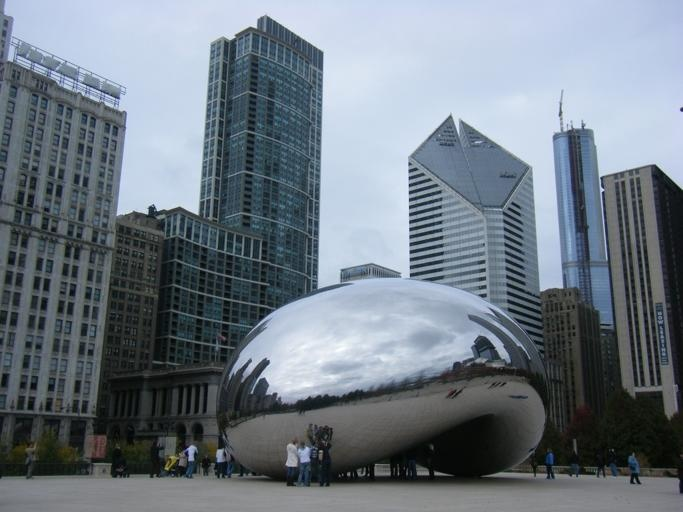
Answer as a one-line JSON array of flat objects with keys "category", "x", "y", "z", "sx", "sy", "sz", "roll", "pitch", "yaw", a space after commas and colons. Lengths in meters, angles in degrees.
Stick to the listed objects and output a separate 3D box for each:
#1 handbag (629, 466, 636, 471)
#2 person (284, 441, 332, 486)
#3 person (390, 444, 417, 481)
[{"category": "handbag", "x": 12.052, "y": 8.759, "z": 24.211, "sx": 0.238, "sy": 0.186, "sz": 0.140, "roll": -12, "pitch": -22, "yaw": 32}, {"category": "person", "x": -1.062, "y": 6.610, "z": 18.847, "sx": 1.509, "sy": 1.595, "sz": 0.514, "roll": -2, "pitch": -10, "yaw": 17}, {"category": "person", "x": 2.302, "y": 7.688, "z": 21.533, "sx": 0.664, "sy": 1.265, "sz": 2.108, "roll": 4, "pitch": -30, "yaw": -7}]
